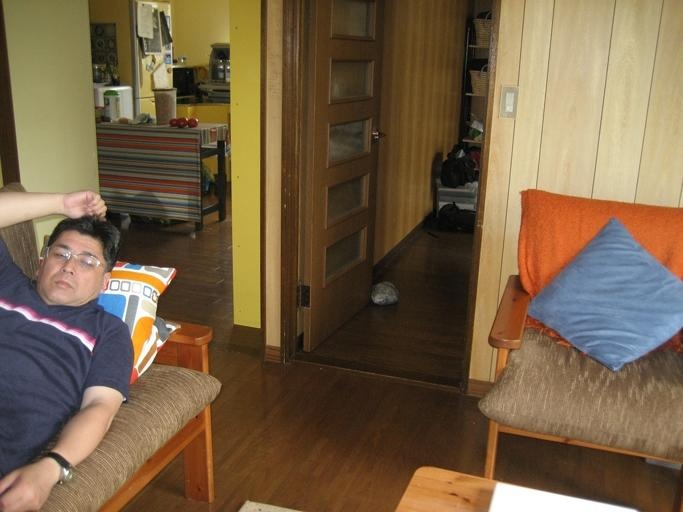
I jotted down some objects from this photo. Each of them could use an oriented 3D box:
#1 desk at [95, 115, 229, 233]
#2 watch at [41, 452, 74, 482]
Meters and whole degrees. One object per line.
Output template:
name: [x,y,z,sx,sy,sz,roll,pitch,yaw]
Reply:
desk: [-1.944,-0.851,5.891,1.230,0.966,0.798,5,9,4]
watch: [-0.781,0.582,1.490,0.058,0.060,0.037,-21,12,26]
